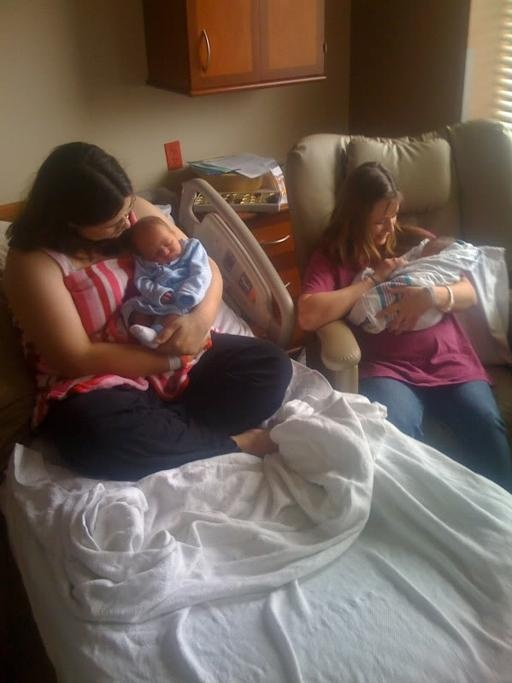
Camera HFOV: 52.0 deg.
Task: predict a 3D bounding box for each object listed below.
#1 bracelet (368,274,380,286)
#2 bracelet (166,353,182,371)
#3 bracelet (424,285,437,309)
[{"bbox_3d":[0.342,-0.179,1.520,0.023,0.010,0.031,-40,76,-22],"label":"bracelet"},{"bbox_3d":[-0.196,0.049,1.264,0.029,0.039,0.029,1,-17,9],"label":"bracelet"},{"bbox_3d":[0.478,-0.127,1.423,0.037,0.051,0.019,-5,3,25],"label":"bracelet"}]
